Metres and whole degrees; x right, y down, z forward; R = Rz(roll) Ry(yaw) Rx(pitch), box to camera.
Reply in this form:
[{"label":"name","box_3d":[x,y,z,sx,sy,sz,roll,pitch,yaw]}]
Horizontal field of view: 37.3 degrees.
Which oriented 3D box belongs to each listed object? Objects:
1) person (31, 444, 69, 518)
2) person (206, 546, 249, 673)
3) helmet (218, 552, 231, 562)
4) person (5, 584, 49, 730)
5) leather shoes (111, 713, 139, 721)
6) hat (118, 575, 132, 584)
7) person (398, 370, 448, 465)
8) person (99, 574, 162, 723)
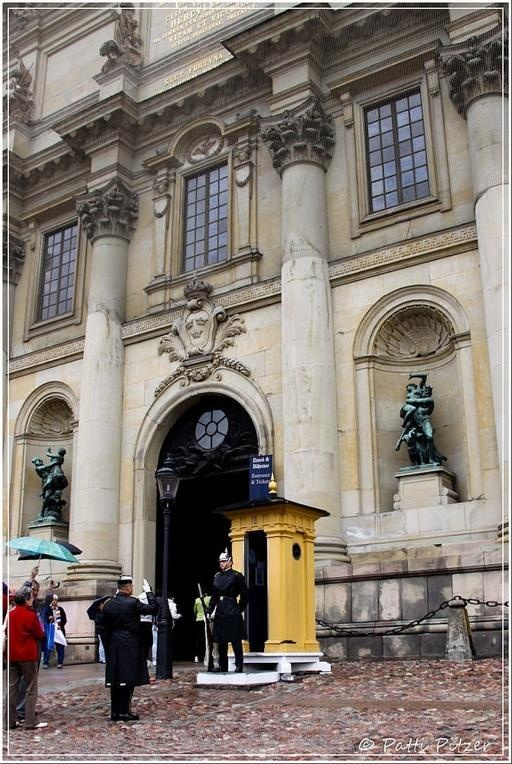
[{"label":"person","box_3d":[-6.587,3.266,24.179,0.957,2.397,1.446,7,-18,-28]},{"label":"person","box_3d":[-0.387,3.202,10.616,0.512,1.637,0.767,-1,-16,-3]},{"label":"helmet","box_3d":[-0.461,2.515,10.926,0.140,0.136,0.202,-5,-26,16]},{"label":"person","box_3d":[-2.482,3.003,8.162,0.375,1.296,0.711,13,-22,-43]},{"label":"leather shoes","box_3d":[-1.357,3.452,7.856,0.292,0.115,0.098,-1,-13,-3]},{"label":"hat","box_3d":[-1.485,2.212,8.530,0.100,0.076,0.138,1,-7,9]},{"label":"person","box_3d":[3.595,0.824,16.811,0.958,2.220,0.811,-6,-16,13]},{"label":"person","box_3d":[-1.420,2.839,8.191,0.586,1.457,0.524,0,-16,-7]}]
